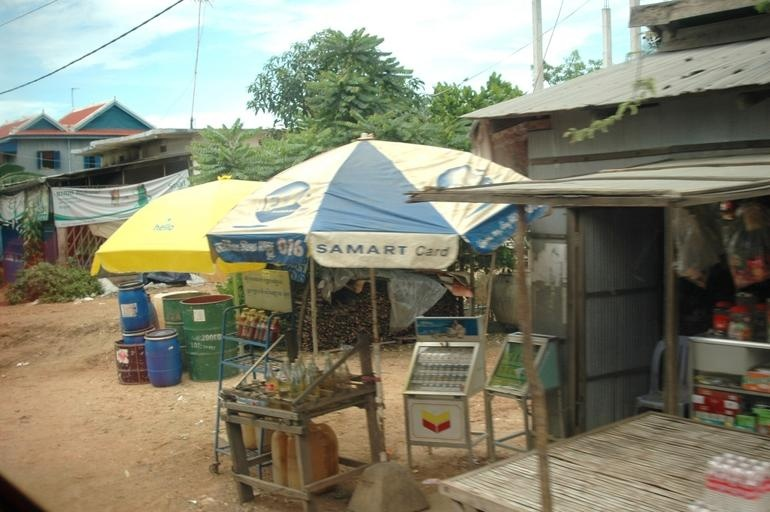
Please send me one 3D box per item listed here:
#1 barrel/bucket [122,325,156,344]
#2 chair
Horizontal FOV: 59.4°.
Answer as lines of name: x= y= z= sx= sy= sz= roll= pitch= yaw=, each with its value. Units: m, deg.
barrel/bucket: x=-4.692 y=1.482 z=12.789 sx=0.440 sy=0.263 sz=0.448 roll=-1 pitch=-4 yaw=0
chair: x=3.640 y=1.590 z=8.899 sx=0.646 sy=0.974 sz=0.890 roll=-1 pitch=4 yaw=20
